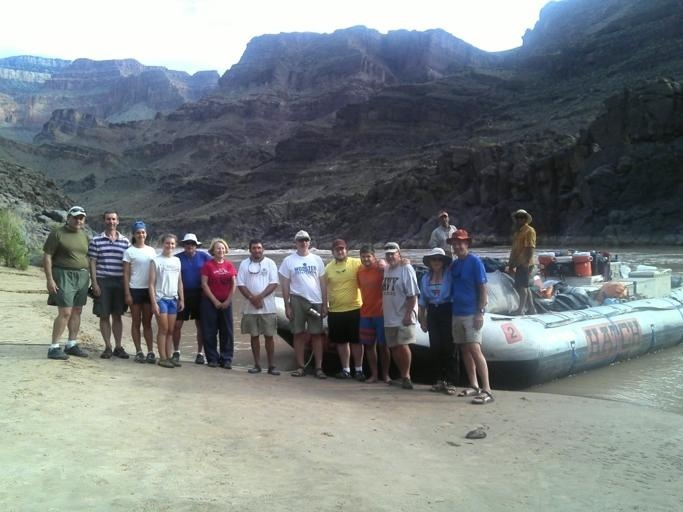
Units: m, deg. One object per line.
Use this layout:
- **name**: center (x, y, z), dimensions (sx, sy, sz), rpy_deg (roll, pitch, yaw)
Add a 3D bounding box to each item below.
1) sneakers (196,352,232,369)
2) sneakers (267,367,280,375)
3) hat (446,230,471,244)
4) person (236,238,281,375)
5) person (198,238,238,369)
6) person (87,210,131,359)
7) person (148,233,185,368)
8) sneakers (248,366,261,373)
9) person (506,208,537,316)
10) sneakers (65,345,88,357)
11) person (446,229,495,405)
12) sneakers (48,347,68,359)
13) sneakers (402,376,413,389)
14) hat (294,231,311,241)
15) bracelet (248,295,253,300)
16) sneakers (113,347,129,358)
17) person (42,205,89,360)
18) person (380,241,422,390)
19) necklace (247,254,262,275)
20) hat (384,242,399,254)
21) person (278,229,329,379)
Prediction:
- **sneakers**: center (-2.042, 1.619, 9.009), dimensions (0.670, 0.264, 0.223), rpy_deg (-4, -2, 26)
- **sneakers**: center (-1.072, 1.774, 8.995), dimensions (0.103, 0.077, 0.203), rpy_deg (2, -6, -29)
- **hat**: center (1.627, -0.304, 7.927), dimensions (0.265, 0.118, 0.313), rpy_deg (-3, -14, 22)
- **person**: center (-1.259, 0.773, 8.881), dimensions (0.736, 2.081, 0.584), rpy_deg (4, 8, -4)
- **person**: center (-1.861, 0.740, 8.925), dimensions (0.514, 1.970, 0.530), rpy_deg (7, 8, 18)
- **person**: center (-3.406, 0.446, 8.510), dimensions (0.570, 2.239, 0.851), rpy_deg (1, 8, -20)
- **person**: center (-2.546, 0.622, 8.426), dimensions (0.483, 1.886, 0.694), rpy_deg (2, 8, -15)
- **sneakers**: center (-1.326, 1.731, 8.873), dimensions (0.080, 0.080, 0.204), rpy_deg (4, -5, 37)
- **person**: center (3.132, 0.098, 9.925), dimensions (0.553, 1.770, 0.746), rpy_deg (6, 8, 15)
- **sneakers**: center (-3.713, 1.327, 8.163), dimensions (0.394, 0.154, 0.141), rpy_deg (2, 0, 15)
- **person**: center (1.716, 0.785, 7.674), dimensions (0.429, 2.135, 0.864), rpy_deg (1, 8, -24)
- **sneakers**: center (-3.791, 1.288, 7.715), dimensions (0.256, 0.096, 0.144), rpy_deg (2, 1, 38)
- **sneakers**: center (0.937, 1.799, 8.291), dimensions (0.184, 0.197, 0.528), rpy_deg (-2, -11, 8)
- **hat**: center (-0.601, -0.343, 8.929), dimensions (0.235, 0.155, 0.318), rpy_deg (2, -12, -11)
- **bracelet**: center (-1.363, 0.612, 8.730), dimensions (0.033, 0.036, 0.037), rpy_deg (-16, 29, -32)
- **sneakers**: center (-3.241, 1.406, 8.507), dimensions (0.305, 0.123, 0.112), rpy_deg (2, 1, 34)
- **person**: center (-3.811, 0.373, 8.030), dimensions (0.574, 2.162, 1.037), rpy_deg (1, 8, -24)
- **person**: center (0.811, 0.835, 8.227), dimensions (0.348, 2.021, 0.600), rpy_deg (-3, 10, -43)
- **necklace**: center (-1.331, 0.128, 8.890), dimensions (0.243, 0.300, 0.077), rpy_deg (1, 5, -2)
- **hat**: center (0.718, -0.125, 8.297), dimensions (0.179, 0.111, 0.238), rpy_deg (-1, -1, 15)
- **person**: center (-0.559, 0.737, 8.939), dimensions (0.811, 2.231, 0.523), rpy_deg (4, 8, 2)
